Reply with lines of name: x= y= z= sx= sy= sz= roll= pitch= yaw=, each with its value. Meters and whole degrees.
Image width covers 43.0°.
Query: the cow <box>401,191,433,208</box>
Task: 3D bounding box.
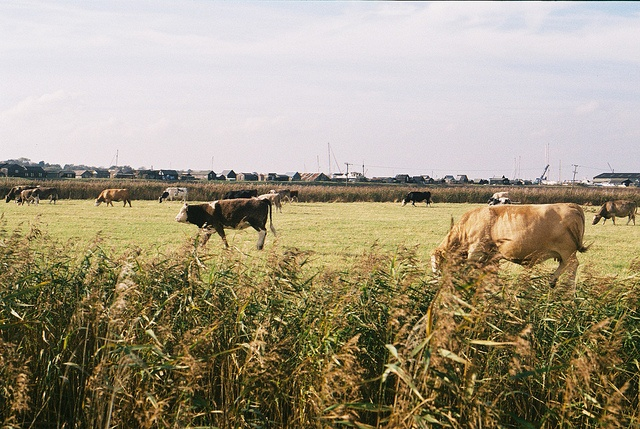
cow: x=6.065 y=-1.060 z=50.749 sx=1.805 sy=0.828 sz=1.246 roll=2 pitch=3 yaw=-8

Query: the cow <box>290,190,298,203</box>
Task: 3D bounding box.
cow: x=-1.709 y=-1.216 z=52.573 sx=0.434 sy=0.735 sz=0.763 roll=2 pitch=3 yaw=2

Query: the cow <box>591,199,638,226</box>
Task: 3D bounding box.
cow: x=12.245 y=-0.115 z=33.734 sx=1.555 sy=0.985 sz=2.304 roll=3 pitch=4 yaw=19

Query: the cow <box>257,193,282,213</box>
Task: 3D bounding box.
cow: x=-2.451 y=-0.637 z=39.616 sx=1.632 sy=0.908 sz=0.876 roll=5 pitch=-4 yaw=-23

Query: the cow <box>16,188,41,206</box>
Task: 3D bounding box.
cow: x=-14.711 y=-0.952 z=41.140 sx=0.930 sy=0.827 sz=2.878 roll=1 pitch=4 yaw=-21

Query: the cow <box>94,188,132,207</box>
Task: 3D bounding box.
cow: x=-10.958 y=-0.933 z=42.942 sx=1.587 sy=0.863 sz=3.290 roll=2 pitch=4 yaw=-10

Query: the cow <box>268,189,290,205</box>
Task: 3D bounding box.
cow: x=-2.362 y=-1.271 z=52.396 sx=0.597 sy=0.711 sz=1.312 roll=-4 pitch=-8 yaw=43
